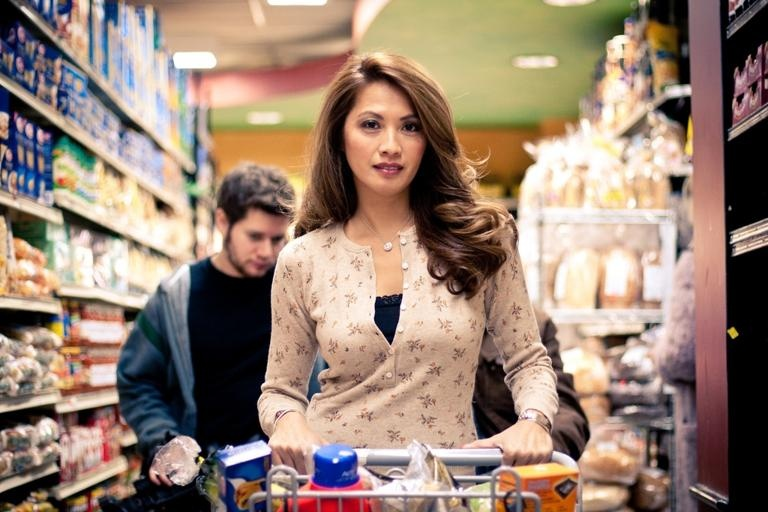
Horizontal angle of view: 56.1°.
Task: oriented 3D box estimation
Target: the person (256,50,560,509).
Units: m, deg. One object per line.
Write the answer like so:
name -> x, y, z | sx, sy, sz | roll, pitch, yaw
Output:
person -> 0.041, -0.013, 2.570 | 1.040, 1.480, 0.388 | -4, -8, 1

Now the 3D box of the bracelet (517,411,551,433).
bracelet -> 0.500, 0.536, 2.380 | 0.078, 0.032, 0.081 | 26, -24, 14

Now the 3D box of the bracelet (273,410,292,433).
bracelet -> -0.351, 0.546, 2.460 | 0.071, 0.051, 0.092 | -45, -4, -10

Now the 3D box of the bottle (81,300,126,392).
bottle -> -1.657, 0.511, 4.250 | 0.286, 0.402, 0.129 | -5, 17, -40

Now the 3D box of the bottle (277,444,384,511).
bottle -> -0.160, 0.663, 2.241 | 0.269, 0.268, 0.160 | -3, 1, 11
